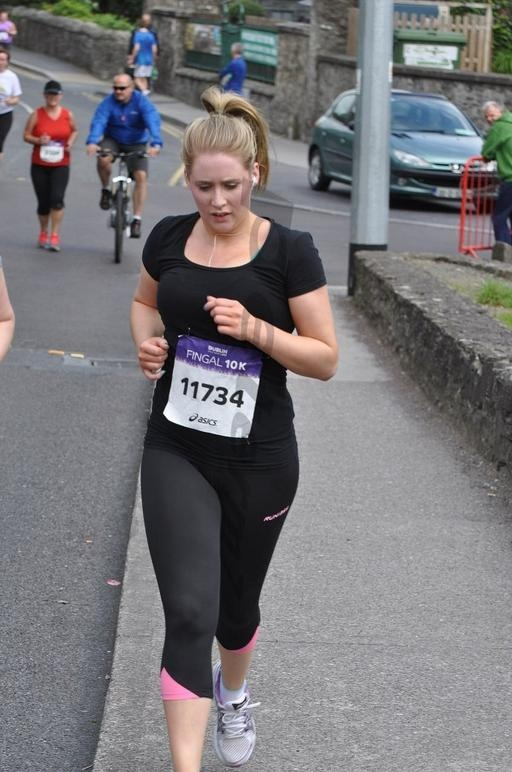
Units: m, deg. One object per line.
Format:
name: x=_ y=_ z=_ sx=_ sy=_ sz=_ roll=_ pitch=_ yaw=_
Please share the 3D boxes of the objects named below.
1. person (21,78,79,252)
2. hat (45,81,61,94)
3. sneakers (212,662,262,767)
person: x=-2.779 y=-2.925 z=10.269 sx=0.620 sy=2.181 sz=0.670 roll=6 pitch=11 yaw=14
hat: x=-2.652 y=-3.886 z=9.956 sx=0.184 sy=0.146 sz=0.265 roll=0 pitch=14 yaw=-4
sneakers: x=-0.043 y=0.826 z=1.882 sx=0.108 sy=0.250 sz=0.100 roll=-4 pitch=-6 yaw=2
